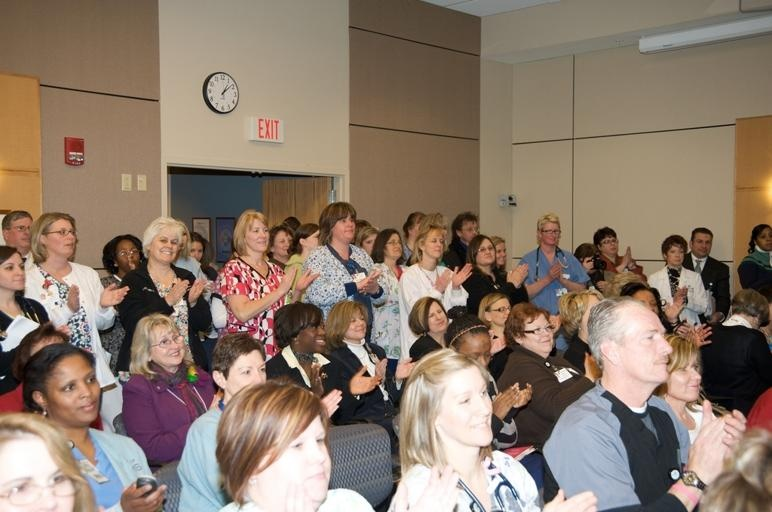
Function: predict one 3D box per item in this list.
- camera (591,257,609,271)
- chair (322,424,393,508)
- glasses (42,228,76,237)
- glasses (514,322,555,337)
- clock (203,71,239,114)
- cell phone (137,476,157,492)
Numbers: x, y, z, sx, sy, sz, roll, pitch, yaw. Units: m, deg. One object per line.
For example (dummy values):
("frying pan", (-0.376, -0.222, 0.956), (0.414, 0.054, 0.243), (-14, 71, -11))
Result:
("camera", (2.693, 0.132, 7.103), (0.190, 0.145, 0.216), (2, -6, -9))
("chair", (-0.115, 0.955, 2.780), (0.380, 0.571, 0.403), (-1, -4, -2))
("glasses", (-2.413, -0.168, 4.165), (0.200, 0.056, 0.091), (-6, 9, -37))
("glasses", (1.090, 0.542, 4.121), (0.142, 0.045, 0.151), (3, -28, -35))
("clock", (-1.959, -1.954, 6.781), (0.437, 0.465, 0.070), (10, 18, 13))
("cell phone", (-0.987, 0.929, 2.335), (0.061, 0.064, 0.065), (0, 2, 1))
